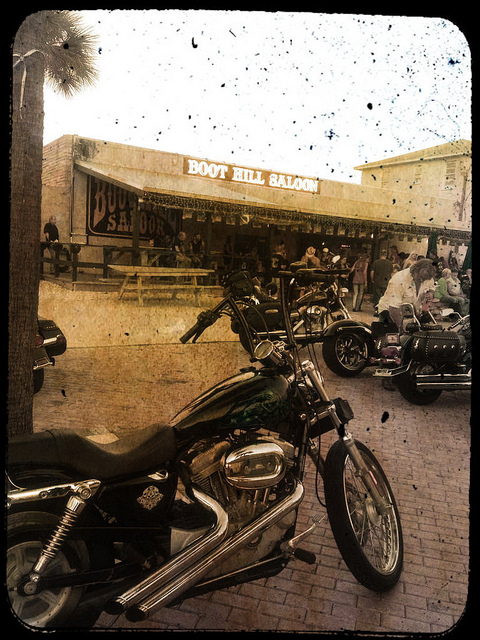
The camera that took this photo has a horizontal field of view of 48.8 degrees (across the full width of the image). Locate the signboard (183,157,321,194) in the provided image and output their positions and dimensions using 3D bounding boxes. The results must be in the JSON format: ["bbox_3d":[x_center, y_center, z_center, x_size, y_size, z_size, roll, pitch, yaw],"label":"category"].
[{"bbox_3d":[0.142,-1.908,7.059,1.794,0.324,1.656,3,9,-8],"label":"signboard"}]

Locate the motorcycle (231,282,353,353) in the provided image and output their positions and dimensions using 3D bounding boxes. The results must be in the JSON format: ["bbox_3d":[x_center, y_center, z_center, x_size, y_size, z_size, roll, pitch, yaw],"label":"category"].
[{"bbox_3d":[0.762,-0.080,6.622,1.243,0.845,0.877,-3,2,-15],"label":"motorcycle"}]

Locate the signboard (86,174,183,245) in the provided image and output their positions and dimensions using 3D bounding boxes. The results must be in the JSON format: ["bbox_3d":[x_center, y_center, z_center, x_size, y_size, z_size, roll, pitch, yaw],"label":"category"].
[{"bbox_3d":[-1.785,-1.884,9.022,1.447,0.891,0.026,4,-3,-39],"label":"signboard"}]

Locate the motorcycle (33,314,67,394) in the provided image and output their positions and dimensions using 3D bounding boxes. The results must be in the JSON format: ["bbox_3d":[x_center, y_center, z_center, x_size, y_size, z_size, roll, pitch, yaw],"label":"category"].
[{"bbox_3d":[-1.768,0.319,4.741,0.359,0.466,0.752,-3,12,-26],"label":"motorcycle"}]

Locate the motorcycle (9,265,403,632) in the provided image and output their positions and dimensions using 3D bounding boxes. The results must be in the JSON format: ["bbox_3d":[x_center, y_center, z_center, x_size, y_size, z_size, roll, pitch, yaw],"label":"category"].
[{"bbox_3d":[-0.188,0.712,2.959,2.381,1.744,1.218,-10,4,-32],"label":"motorcycle"}]
